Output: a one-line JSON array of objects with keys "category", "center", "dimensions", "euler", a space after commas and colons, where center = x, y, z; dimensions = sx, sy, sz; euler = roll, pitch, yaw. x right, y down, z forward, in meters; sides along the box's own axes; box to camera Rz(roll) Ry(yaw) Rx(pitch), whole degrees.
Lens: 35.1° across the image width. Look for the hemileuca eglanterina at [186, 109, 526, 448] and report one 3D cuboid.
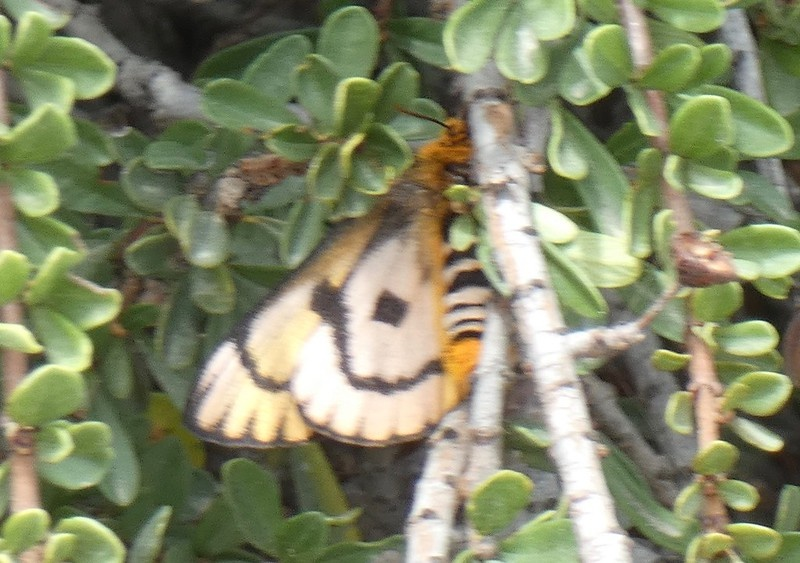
[{"category": "hemileuca eglanterina", "center": [-0.023, 0.026, 1.144], "dimensions": [0.227, 0.151, 0.329], "euler": [43, 89, -2]}]
